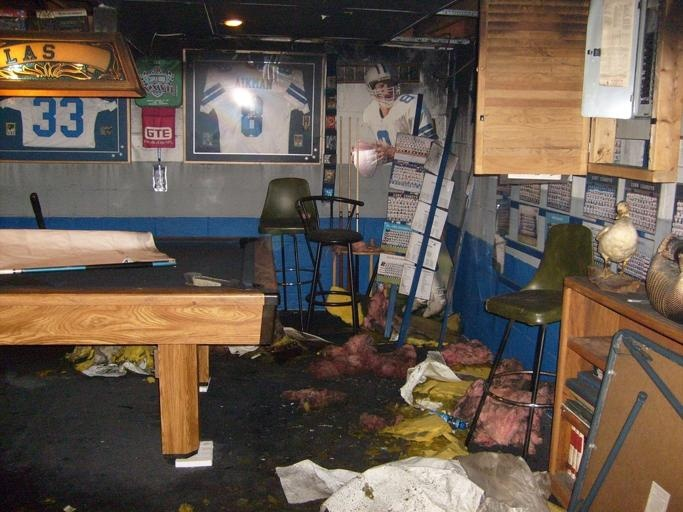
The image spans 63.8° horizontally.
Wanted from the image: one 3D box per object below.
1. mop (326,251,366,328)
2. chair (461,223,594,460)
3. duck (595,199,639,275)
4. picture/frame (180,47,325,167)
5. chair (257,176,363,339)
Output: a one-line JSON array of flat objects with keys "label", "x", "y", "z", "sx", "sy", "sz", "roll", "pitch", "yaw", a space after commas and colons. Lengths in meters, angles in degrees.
[{"label": "mop", "x": 0.010, "y": 0.308, "z": 5.406, "sx": 0.393, "sy": 0.897, "sz": 0.378, "roll": 2, "pitch": 9, "yaw": 2}, {"label": "chair", "x": 1.205, "y": 0.496, "z": 3.630, "sx": 0.820, "sy": 1.423, "sz": 0.753, "roll": -2, "pitch": 8, "yaw": -25}, {"label": "duck", "x": 1.460, "y": -0.102, "z": 2.913, "sx": 0.219, "sy": 0.423, "sz": 0.283, "roll": 1, "pitch": 21, "yaw": 15}, {"label": "picture/frame", "x": -0.906, "y": -1.541, "z": 5.711, "sx": 1.395, "sy": 1.138, "sz": 0.100, "roll": 2, "pitch": 15, "yaw": -6}, {"label": "chair", "x": -0.325, "y": 0.134, "z": 5.378, "sx": 0.985, "sy": 1.755, "sz": 0.830, "roll": -1, "pitch": 7, "yaw": -15}]
